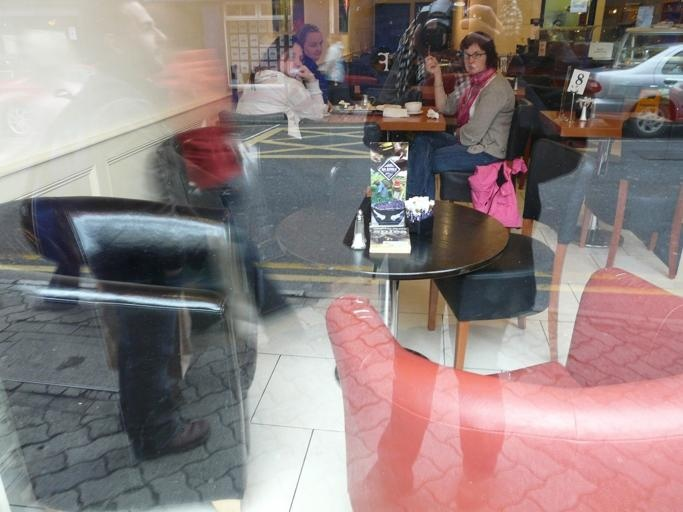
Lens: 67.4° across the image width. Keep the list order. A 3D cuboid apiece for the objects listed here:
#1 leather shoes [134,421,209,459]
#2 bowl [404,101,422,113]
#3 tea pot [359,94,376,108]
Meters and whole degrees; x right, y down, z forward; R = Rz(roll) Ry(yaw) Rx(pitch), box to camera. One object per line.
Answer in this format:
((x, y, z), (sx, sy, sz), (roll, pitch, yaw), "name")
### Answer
((-0.424, 0.463, 1.309), (0.185, 0.089, 0.029), (-10, 17, 0), "leather shoes")
((0.229, -0.464, 1.580), (0.046, 0.028, 0.043), (-3, 19, 1), "bowl")
((0.077, -0.454, 1.503), (0.048, 0.041, 0.032), (0, 28, -11), "tea pot")
